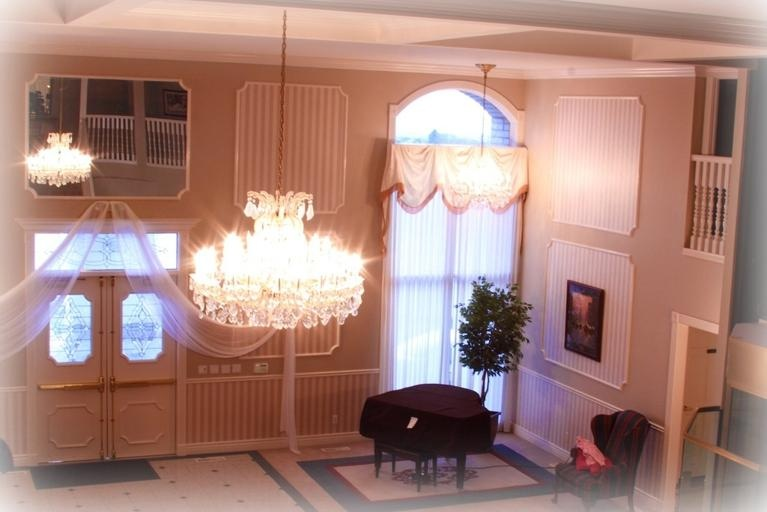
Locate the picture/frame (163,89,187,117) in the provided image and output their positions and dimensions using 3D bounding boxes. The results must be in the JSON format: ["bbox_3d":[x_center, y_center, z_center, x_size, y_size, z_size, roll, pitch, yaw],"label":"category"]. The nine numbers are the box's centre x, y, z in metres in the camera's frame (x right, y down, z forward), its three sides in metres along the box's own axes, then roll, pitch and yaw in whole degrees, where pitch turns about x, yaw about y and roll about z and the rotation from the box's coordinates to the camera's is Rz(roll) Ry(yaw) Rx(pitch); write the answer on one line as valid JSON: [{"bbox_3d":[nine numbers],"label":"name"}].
[{"bbox_3d":[-3.474,-2.557,9.982,0.463,0.461,0.052,2,6,-17],"label":"picture/frame"}]

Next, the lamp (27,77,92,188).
[{"bbox_3d":[-5.222,-1.942,9.747,0.909,1.422,0.920,10,14,20],"label":"lamp"}]

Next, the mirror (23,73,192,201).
[{"bbox_3d":[-4.401,-1.918,9.749,0.054,1.975,2.689,20,21,38],"label":"mirror"}]

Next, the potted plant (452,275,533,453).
[{"bbox_3d":[1.932,1.770,10.979,1.076,1.832,0.942,-1,17,-11],"label":"potted plant"}]

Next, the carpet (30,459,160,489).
[{"bbox_3d":[-4.702,3.494,9.762,1.900,0.061,0.871,0,10,-15],"label":"carpet"}]

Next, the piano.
[{"bbox_3d":[0.669,3.056,10.376,2.171,1.293,2.538,-2,2,-2],"label":"piano"}]

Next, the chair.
[{"bbox_3d":[3.379,3.166,9.289,1.279,1.498,0.708,-1,11,-23],"label":"chair"}]

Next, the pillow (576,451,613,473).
[{"bbox_3d":[3.164,3.140,9.220,0.305,0.120,0.304,1,3,4],"label":"pillow"}]

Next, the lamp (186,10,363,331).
[{"bbox_3d":[-1.148,-0.966,6.632,1.545,3.114,1.541,1,0,-42],"label":"lamp"}]
